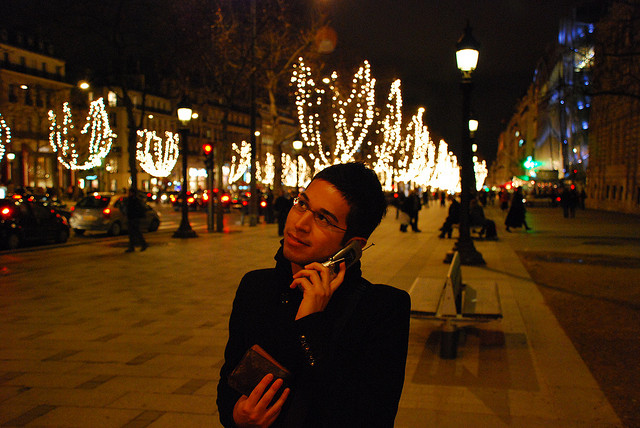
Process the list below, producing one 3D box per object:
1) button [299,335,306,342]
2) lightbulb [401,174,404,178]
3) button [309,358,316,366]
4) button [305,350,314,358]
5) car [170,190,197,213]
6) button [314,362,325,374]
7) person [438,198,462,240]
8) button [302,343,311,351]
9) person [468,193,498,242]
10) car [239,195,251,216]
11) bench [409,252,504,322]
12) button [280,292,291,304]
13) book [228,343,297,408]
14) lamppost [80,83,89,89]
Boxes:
[{"bbox_3d":[-0.164,1.171,5.779,0.054,0.027,0.077,4,5,1],"label":"button"},{"bbox_3d":[7.978,-3.704,59.078,0.230,0.252,0.133,1,-5,8],"label":"lightbulb"},{"bbox_3d":[-0.074,1.388,5.771,0.052,0.044,0.039,-13,13,-6],"label":"button"},{"bbox_3d":[-0.093,1.314,5.775,0.071,0.070,0.011,-1,3,-4],"label":"button"},{"bbox_3d":[-10.647,-0.958,47.675,1.626,1.415,2.708,0,9,1],"label":"car"},{"bbox_3d":[-0.004,1.453,5.793,0.096,0.099,0.007,-1,3,-7],"label":"button"},{"bbox_3d":[5.755,0.117,27.112,0.976,1.856,0.727,5,21,20],"label":"person"},{"bbox_3d":[-0.125,1.247,5.780,0.077,0.065,0.014,-1,3,-7],"label":"button"},{"bbox_3d":[7.151,0.203,26.501,0.923,1.751,0.751,0,30,15],"label":"person"},{"bbox_3d":[-5.272,-0.604,43.090,0.767,1.011,3.200,-11,6,-2],"label":"car"},{"bbox_3d":[2.423,1.442,10.954,1.202,0.674,1.767,0,3,17],"label":"bench"},{"bbox_3d":[-0.335,0.802,5.895,0.119,0.098,0.058,0,3,14],"label":"button"},{"bbox_3d":[-0.573,1.463,5.700,0.545,0.564,0.135,40,-1,3],"label":"book"},{"bbox_3d":[-16.036,-8.851,41.999,0.694,0.292,0.692,-6,10,-34],"label":"lamppost"}]
